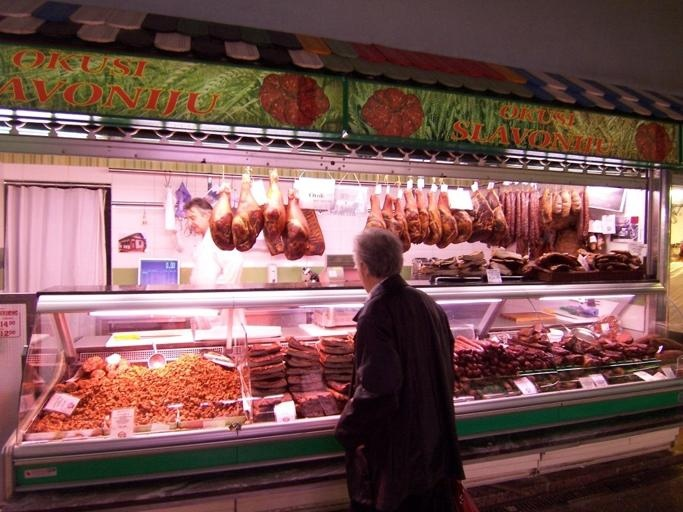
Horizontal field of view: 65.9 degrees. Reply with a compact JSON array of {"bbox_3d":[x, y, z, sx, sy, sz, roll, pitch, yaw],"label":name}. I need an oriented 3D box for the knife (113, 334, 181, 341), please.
[{"bbox_3d":[-1.477,0.603,3.895,0.388,0.062,0.055,1,-13,-5],"label":"knife"}]

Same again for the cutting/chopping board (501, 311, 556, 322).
[{"bbox_3d":[1.630,0.526,4.632,0.299,0.036,0.159,0,4,-3],"label":"cutting/chopping board"}]
